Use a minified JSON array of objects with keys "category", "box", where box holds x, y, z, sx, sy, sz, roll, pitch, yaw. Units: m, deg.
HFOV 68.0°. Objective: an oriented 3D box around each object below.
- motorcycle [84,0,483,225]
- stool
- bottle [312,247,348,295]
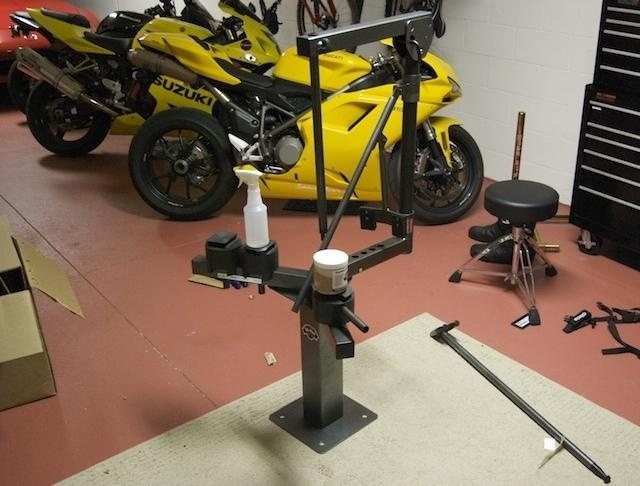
[{"category":"motorcycle","box":[-0.108,-0.792,3.405,2.467,1.338,0.845,5,27,13]},{"category":"stool","box":[1.072,0.005,2.791,0.496,0.535,0.572,7,2,20]},{"category":"bottle","box":[0.035,0.096,1.555,0.120,0.106,0.120,-13,24,-34]}]
